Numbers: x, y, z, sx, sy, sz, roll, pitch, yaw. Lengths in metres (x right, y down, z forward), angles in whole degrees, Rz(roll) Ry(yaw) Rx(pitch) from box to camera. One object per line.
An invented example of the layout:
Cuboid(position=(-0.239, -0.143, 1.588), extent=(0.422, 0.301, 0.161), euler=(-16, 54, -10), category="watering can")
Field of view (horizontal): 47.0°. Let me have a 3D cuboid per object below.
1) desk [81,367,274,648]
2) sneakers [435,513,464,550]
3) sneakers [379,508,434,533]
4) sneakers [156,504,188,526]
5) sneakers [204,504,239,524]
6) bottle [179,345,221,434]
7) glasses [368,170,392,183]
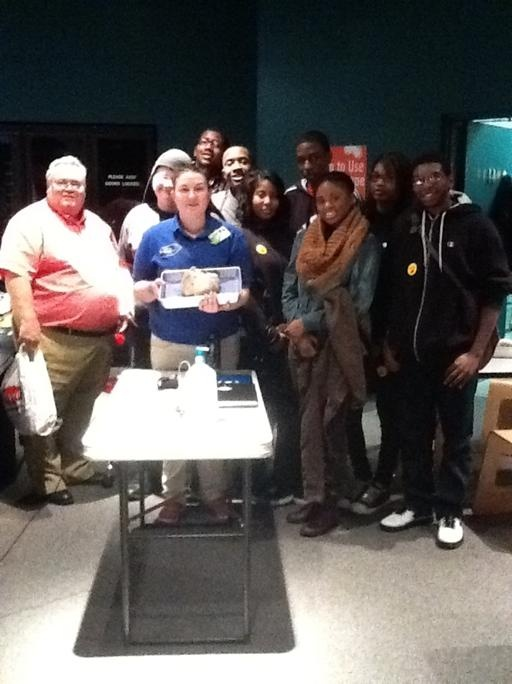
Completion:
Cuboid(position=(-0.254, 0.503, 1.978), extent=(0.548, 0.775, 0.890), euler=(-1, 8, -3), category="desk")
Cuboid(position=(0.787, 0.768, 2.372), extent=(0.072, 0.060, 0.162), euler=(0, 3, 10), category="sneakers")
Cuboid(position=(0.641, 0.755, 2.541), extent=(0.229, 0.081, 0.081), euler=(-3, 2, -13), category="sneakers")
Cuboid(position=(-0.359, 0.723, 2.483), extent=(0.079, 0.036, 0.122), euler=(3, 29, 3), category="sneakers")
Cuboid(position=(-0.135, 0.713, 2.476), extent=(0.077, 0.051, 0.124), euler=(-7, 14, -40), category="sneakers")
Cuboid(position=(-0.173, 0.126, 1.765), extent=(0.121, 0.188, 0.358), euler=(-1, 7, -6), category="bottle")
Cuboid(position=(0.524, -0.696, 2.469), extent=(0.073, 0.036, 0.090), euler=(1, 5, 4), category="glasses")
